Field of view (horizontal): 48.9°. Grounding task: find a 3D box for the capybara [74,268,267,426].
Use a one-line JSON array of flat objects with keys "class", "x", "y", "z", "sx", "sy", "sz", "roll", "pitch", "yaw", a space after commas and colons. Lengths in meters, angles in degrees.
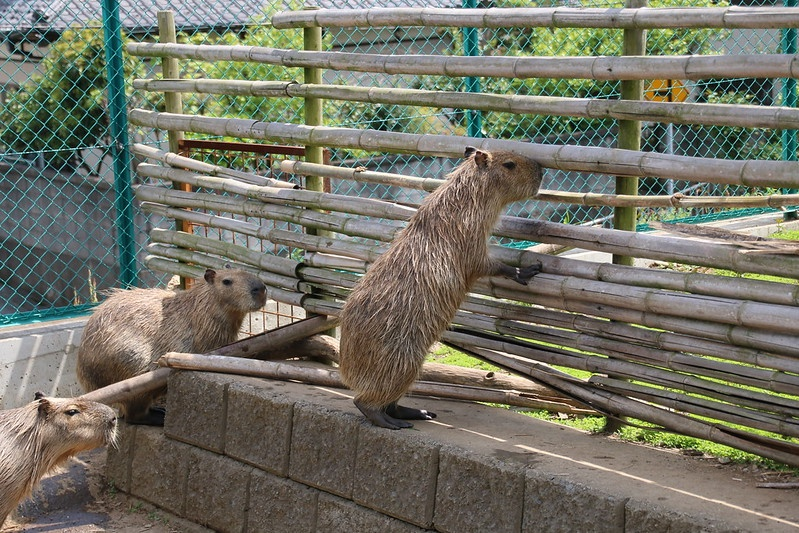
[{"class": "capybara", "x": -1.666, "y": 0.578, "z": 6.581, "sx": 1.559, "sy": 1.032, "sz": 0.914, "roll": -4, "pitch": 5, "yaw": 20}]
